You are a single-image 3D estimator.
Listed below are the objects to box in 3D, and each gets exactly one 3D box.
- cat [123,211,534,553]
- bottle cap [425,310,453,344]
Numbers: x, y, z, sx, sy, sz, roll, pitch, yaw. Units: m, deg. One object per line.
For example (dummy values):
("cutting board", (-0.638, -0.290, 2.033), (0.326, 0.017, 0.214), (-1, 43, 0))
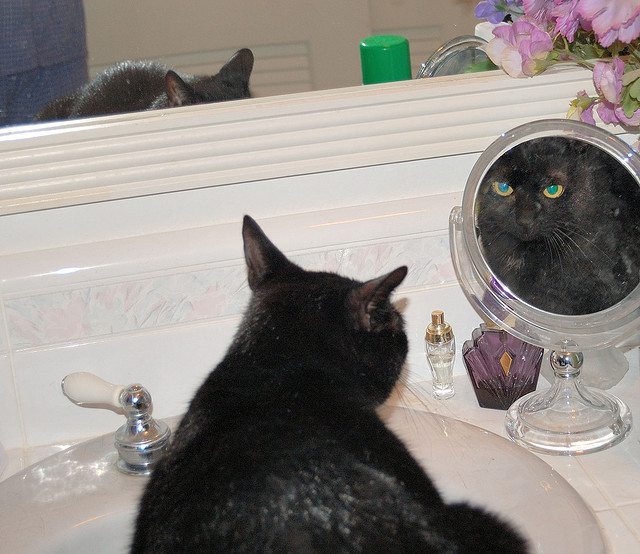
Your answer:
("cat", (-0.015, 0.152, 0.784), (0.278, 0.155, 0.439), (11, 68, 13))
("bottle cap", (0.142, 0.062, 0.805), (0.033, 0.038, 0.034), (-6, 15, 2))
